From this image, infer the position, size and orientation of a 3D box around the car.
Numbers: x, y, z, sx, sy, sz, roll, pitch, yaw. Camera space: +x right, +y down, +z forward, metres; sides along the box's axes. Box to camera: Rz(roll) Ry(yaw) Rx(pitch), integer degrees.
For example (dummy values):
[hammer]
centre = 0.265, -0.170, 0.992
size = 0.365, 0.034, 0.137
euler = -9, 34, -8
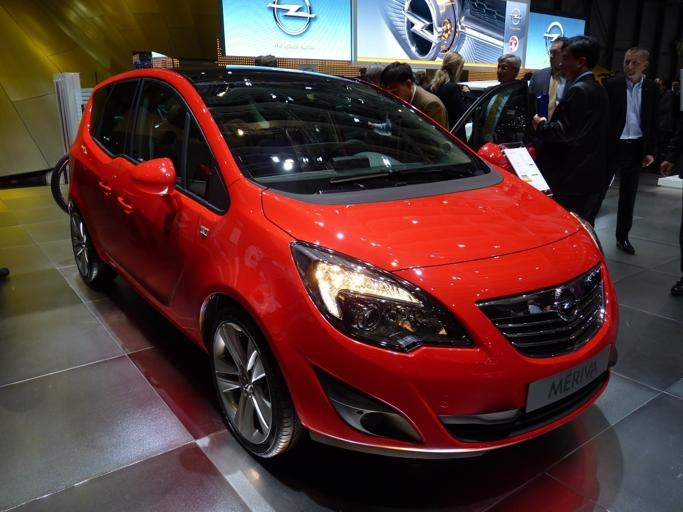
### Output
[car]
centre = -0.328, -0.360, 2.765
size = 1.993, 1.424, 3.667
euler = -12, 25, -34

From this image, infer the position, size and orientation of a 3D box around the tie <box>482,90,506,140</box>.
[tie]
centre = 1.322, -1.231, 3.579
size = 0.134, 0.561, 0.065
euler = 26, 77, 18
